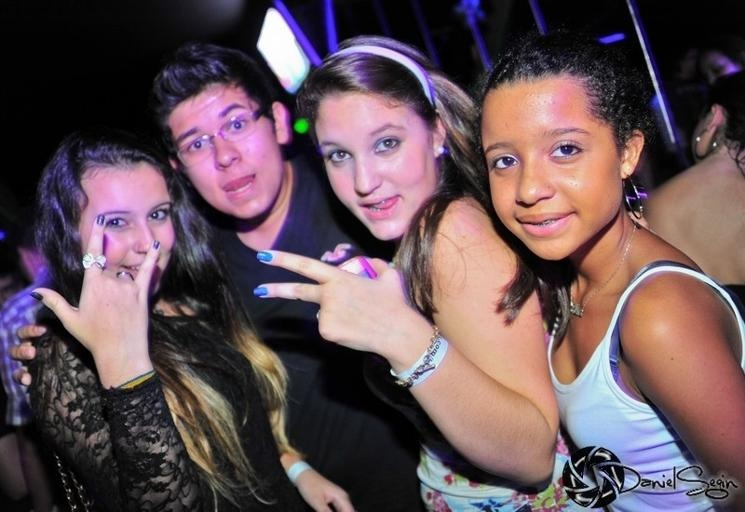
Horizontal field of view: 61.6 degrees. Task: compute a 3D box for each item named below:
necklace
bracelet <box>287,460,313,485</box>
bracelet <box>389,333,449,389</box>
[{"bbox_3d":[1.082,0.079,2.939,0.097,0.450,0.280,14,15,-6],"label":"necklace"},{"bbox_3d":[-0.395,1.173,3.401,0.106,0.104,0.072,-53,27,2],"label":"bracelet"},{"bbox_3d":[0.191,0.474,2.731,0.221,0.073,0.203,-45,11,46],"label":"bracelet"}]
